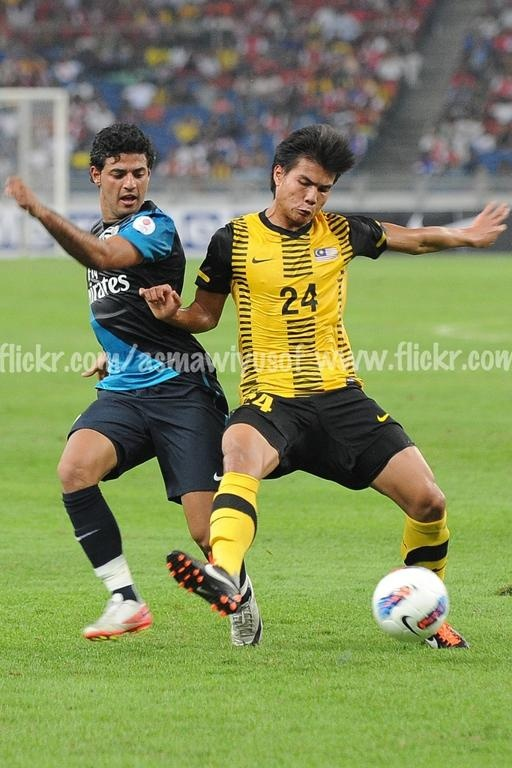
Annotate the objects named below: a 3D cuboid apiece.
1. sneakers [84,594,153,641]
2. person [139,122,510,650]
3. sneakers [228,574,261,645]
[{"bbox_3d":[-0.394,0.706,2.592,0.093,0.115,0.260,-6,-5,37],"label":"sneakers"},{"bbox_3d":[0.268,0.016,2.667,1.110,1.270,0.968,-1,3,-6],"label":"person"},{"bbox_3d":[-0.026,0.718,2.719,0.087,0.209,0.101,-6,7,18],"label":"sneakers"}]
